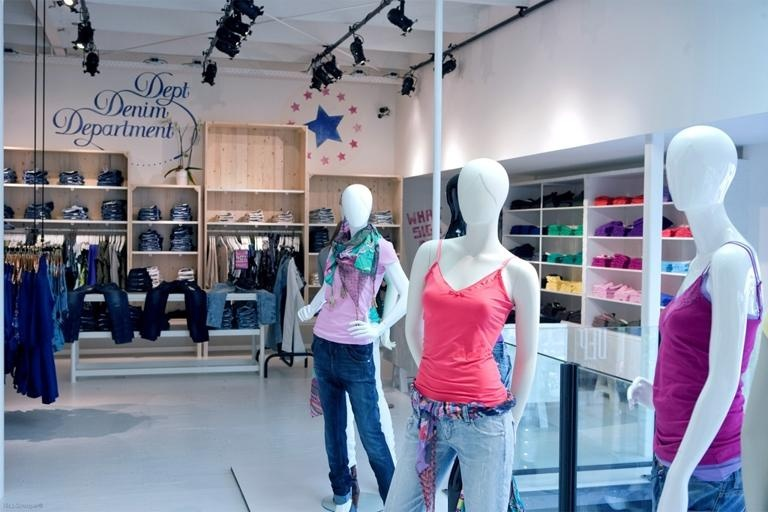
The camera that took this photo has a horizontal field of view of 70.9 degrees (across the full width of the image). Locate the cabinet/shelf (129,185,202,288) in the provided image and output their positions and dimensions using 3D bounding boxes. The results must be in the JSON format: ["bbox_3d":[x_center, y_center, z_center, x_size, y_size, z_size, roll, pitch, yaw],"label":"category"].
[{"bbox_3d":[-3.352,-0.355,8.399,1.058,1.478,0.573,0,4,-20],"label":"cabinet/shelf"}]

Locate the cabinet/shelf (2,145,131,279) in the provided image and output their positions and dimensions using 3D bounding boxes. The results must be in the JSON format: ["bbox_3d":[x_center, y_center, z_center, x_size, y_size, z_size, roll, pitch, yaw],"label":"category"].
[{"bbox_3d":[-4.394,-0.596,7.488,1.947,2.232,0.582,1,-5,-13],"label":"cabinet/shelf"}]

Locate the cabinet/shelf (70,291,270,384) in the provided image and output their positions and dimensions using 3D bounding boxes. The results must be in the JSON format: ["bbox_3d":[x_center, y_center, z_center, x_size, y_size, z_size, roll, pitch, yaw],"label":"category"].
[{"bbox_3d":[-2.849,0.982,7.413,2.310,1.130,1.602,0,3,-16],"label":"cabinet/shelf"}]

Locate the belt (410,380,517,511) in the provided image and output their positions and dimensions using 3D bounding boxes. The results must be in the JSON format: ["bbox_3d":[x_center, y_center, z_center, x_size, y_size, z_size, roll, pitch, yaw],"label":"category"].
[{"bbox_3d":[0.294,0.759,2.070,0.385,0.479,0.114,2,3,11],"label":"belt"}]

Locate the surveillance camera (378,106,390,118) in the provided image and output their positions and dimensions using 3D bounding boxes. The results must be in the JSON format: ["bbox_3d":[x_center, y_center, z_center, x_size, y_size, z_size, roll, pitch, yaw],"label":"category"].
[{"bbox_3d":[0.021,-2.535,9.557,0.138,0.224,0.224,-4,10,-36],"label":"surveillance camera"}]

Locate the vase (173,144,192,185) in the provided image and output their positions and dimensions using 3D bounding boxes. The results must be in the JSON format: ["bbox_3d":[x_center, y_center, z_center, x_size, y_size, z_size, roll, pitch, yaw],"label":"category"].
[{"bbox_3d":[-3.130,-1.431,8.566,0.256,0.637,0.427,0,4,-20],"label":"vase"}]

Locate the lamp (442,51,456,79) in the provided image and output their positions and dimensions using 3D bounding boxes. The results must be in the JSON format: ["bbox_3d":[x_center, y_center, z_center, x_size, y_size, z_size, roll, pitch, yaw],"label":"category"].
[{"bbox_3d":[0.937,-2.708,7.584,0.192,0.307,0.452,1,3,6],"label":"lamp"}]
